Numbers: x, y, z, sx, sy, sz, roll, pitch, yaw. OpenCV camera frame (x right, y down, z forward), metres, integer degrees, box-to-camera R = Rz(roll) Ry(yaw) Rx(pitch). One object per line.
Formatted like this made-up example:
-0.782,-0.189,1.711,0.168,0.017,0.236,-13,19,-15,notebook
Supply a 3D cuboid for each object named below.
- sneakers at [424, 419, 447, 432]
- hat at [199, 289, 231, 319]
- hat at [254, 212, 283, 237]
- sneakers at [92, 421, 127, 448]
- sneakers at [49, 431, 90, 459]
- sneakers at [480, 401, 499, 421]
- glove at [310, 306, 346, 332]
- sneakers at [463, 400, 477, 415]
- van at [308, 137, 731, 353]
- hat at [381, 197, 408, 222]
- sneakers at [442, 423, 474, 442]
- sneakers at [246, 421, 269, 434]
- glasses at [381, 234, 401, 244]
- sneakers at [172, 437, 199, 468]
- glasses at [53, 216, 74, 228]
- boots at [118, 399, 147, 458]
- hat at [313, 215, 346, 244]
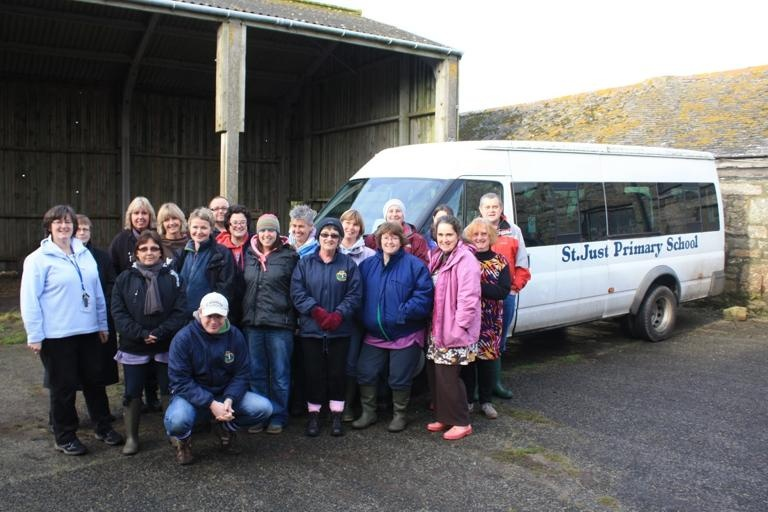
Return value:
0.610,1.935,6.980,0.224,0.165,0.113,2,5,-1,sneakers
-1.737,0.512,6.295,0.305,0.258,0.188,-1,14,-8,hat
-1.277,-0.376,7.026,0.234,0.217,0.260,3,-8,-8,hat
-2.912,1.916,6.616,0.445,0.199,0.166,5,7,38,sneakers
-3.228,1.957,6.376,0.423,0.200,0.162,5,14,18,sneakers
1.236,1.826,7.231,0.111,0.101,0.235,-5,2,-5,sneakers
-0.597,0.684,6.748,0.339,0.257,0.131,-2,14,-10,glove
1.053,1.811,7.313,0.097,0.128,0.297,2,7,6,sneakers
2.534,-0.265,9.898,5.995,2.471,2.840,0,1,-31,van
0.155,-0.575,7.419,0.235,0.312,0.317,1,-19,4,hat
0.820,1.979,6.813,0.281,0.123,0.139,0,-3,-17,sneakers
-1.388,1.955,6.962,0.116,0.148,0.341,3,-10,27,sneakers
0.101,-0.187,6.808,0.110,0.077,0.150,3,-7,2,glasses
-2.022,1.968,6.373,0.190,0.292,0.416,-4,15,-18,sneakers
-3.258,-0.356,6.325,0.214,0.136,0.111,-6,15,-26,glasses
-2.603,1.779,6.424,0.201,0.536,0.325,-3,14,-15,boots
-0.593,-0.313,6.984,0.251,0.275,0.345,1,-10,-6,hat
